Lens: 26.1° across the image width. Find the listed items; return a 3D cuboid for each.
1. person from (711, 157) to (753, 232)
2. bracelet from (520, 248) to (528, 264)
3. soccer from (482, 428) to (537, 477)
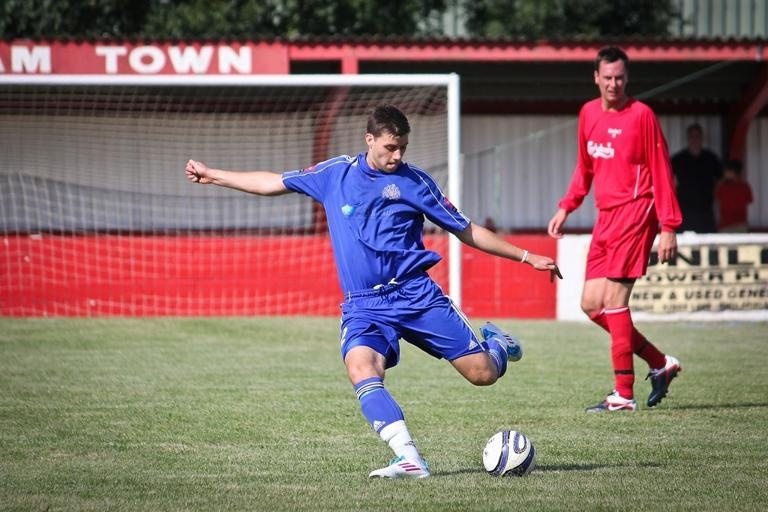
[{"bbox_3d":[6.556,-1.067,30.767,0.662,1.313,0.455,0,4,15],"label":"person"},{"bbox_3d":[1.896,0.034,21.696,0.081,0.144,0.112,10,-2,-17],"label":"bracelet"},{"bbox_3d":[1.652,2.600,21.571,0.614,0.600,0.645,8,-6,-30],"label":"soccer"}]
